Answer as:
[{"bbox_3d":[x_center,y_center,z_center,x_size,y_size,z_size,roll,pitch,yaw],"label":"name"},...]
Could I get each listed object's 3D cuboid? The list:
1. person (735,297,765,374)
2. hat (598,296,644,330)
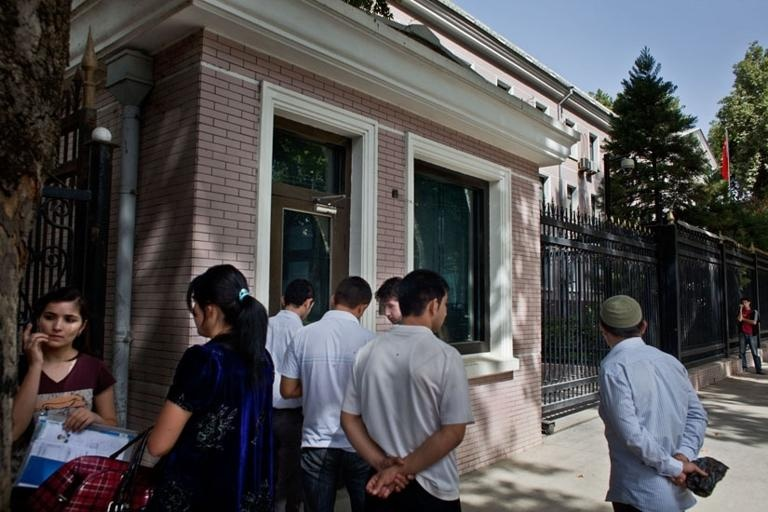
[{"bbox_3d":[9.518,2.092,15.882,0.560,1.606,1.403,1,0,32],"label":"person"},{"bbox_3d":[1.912,0.428,4.957,0.290,0.160,0.422,0,20,21],"label":"hat"}]
